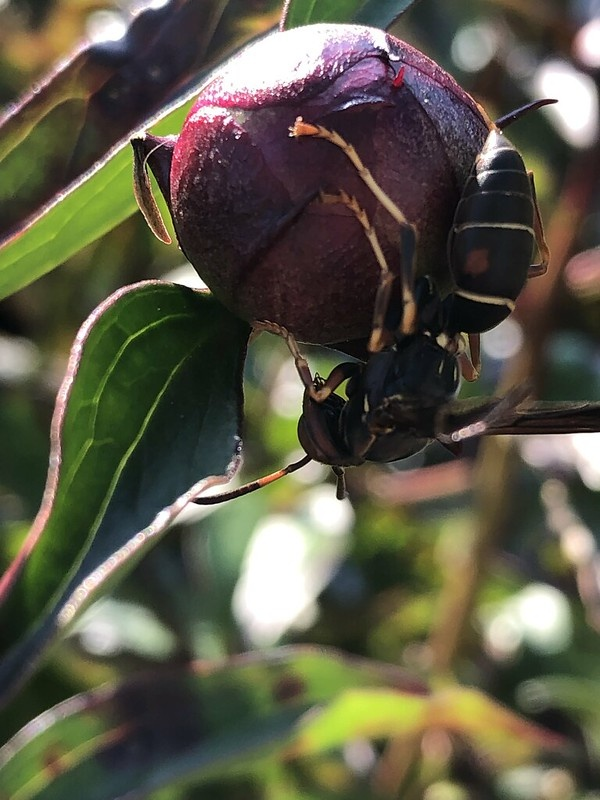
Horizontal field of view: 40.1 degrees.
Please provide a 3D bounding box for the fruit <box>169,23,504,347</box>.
[{"bbox_3d":[0.111,-0.231,0.899,0.470,0.309,0.292,0,101,10],"label":"fruit"}]

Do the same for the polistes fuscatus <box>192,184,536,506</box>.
[{"bbox_3d":[0.147,-0.029,0.942,0.404,0.165,0.294,-51,51,16],"label":"polistes fuscatus"}]
